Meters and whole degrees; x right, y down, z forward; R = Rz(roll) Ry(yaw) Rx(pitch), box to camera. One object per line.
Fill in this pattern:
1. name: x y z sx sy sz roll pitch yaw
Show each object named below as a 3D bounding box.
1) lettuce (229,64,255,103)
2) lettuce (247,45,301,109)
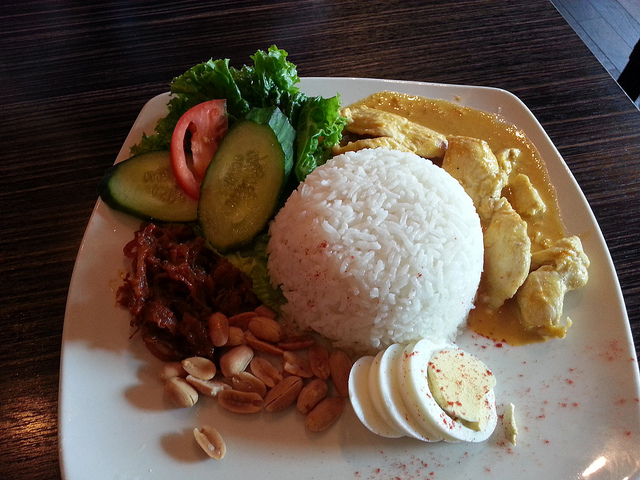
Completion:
1. lettuce: -0.428 -0.948 3.830 0.151 0.258 0.061 21 67 8
2. lettuce: -0.299 -0.933 3.851 0.319 0.182 0.365 -3 84 -17
